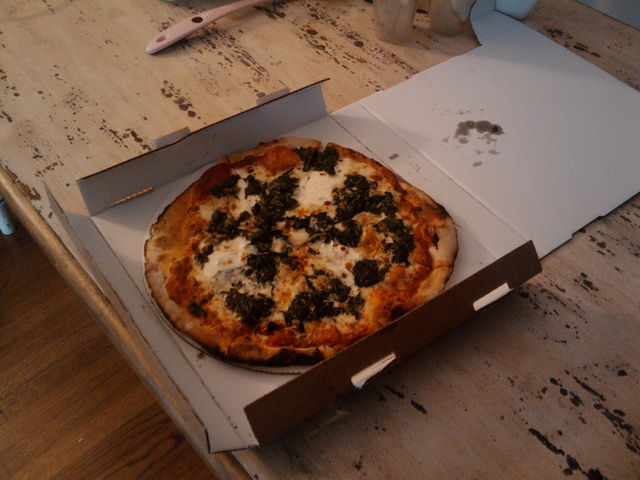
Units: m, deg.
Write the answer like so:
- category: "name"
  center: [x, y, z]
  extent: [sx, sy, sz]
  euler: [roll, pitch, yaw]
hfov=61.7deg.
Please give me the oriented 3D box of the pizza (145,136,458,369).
- category: "pizza"
  center: [-0.048, -0.014, 1.113]
  extent: [0.623, 0.073, 0.521]
  euler: [-22, 66, -16]
